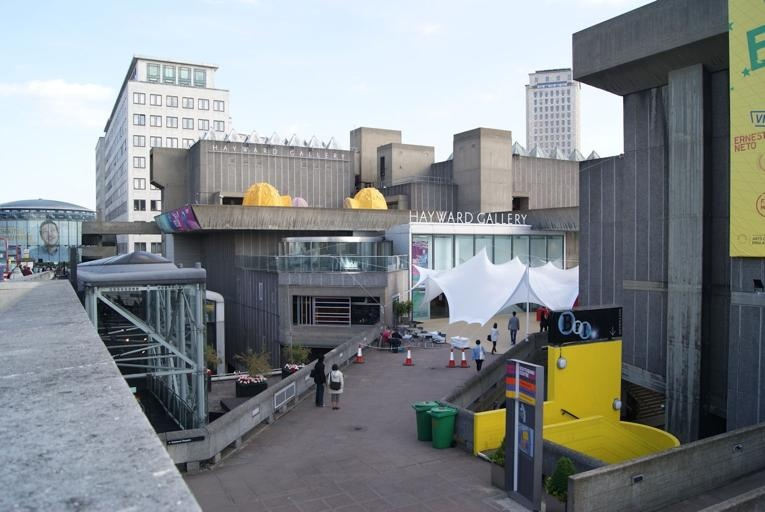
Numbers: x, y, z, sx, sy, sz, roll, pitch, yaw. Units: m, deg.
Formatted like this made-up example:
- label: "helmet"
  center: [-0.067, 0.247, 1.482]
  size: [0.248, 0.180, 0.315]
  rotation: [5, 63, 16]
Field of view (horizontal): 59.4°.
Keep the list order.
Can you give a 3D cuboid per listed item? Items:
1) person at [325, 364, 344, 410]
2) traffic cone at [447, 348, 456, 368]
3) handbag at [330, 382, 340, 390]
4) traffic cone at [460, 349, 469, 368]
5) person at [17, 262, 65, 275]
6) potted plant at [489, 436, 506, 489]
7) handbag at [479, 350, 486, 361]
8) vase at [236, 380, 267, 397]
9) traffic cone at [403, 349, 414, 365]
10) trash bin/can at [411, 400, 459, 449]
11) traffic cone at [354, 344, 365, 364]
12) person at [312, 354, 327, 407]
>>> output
- label: "person"
  center: [-1.629, 4.422, 22.969]
  size: [0.460, 1.527, 1.134]
  rotation: [-1, 4, -5]
- label: "traffic cone"
  center: [3.057, 4.431, 28.877]
  size: [0.574, 0.778, 0.569]
  rotation: [-1, -1, -8]
- label: "handbag"
  center: [-1.588, 4.355, 22.432]
  size: [0.357, 0.267, 0.209]
  rotation: [0, -1, 22]
- label: "traffic cone"
  center: [3.511, 4.465, 28.791]
  size: [0.496, 0.741, 0.510]
  rotation: [-2, 1, -14]
- label: "person"
  center: [-30.484, 1.120, 60.247]
  size: [2.057, 1.298, 1.163]
  rotation: [-2, 4, -13]
- label: "potted plant"
  center: [2.939, 5.317, 17.060]
  size: [0.277, 1.143, 0.599]
  rotation: [-3, 5, -30]
- label: "handbag"
  center: [3.966, 3.993, 26.952]
  size: [0.099, 0.378, 0.679]
  rotation: [1, 4, 22]
- label: "vase"
  center: [-5.342, 5.411, 27.274]
  size: [1.158, 0.556, 0.788]
  rotation: [-2, 4, -15]
- label: "traffic cone"
  center: [1.108, 4.412, 29.190]
  size: [0.528, 0.750, 0.533]
  rotation: [0, 1, -7]
- label: "trash bin/can"
  center: [1.554, 4.973, 19.694]
  size: [0.661, 1.114, 1.115]
  rotation: [-5, 5, -45]
- label: "traffic cone"
  center: [-0.944, 4.400, 29.780]
  size: [0.524, 0.746, 0.528]
  rotation: [-1, 4, -23]
- label: "person"
  center: [-2.186, 4.307, 23.244]
  size: [0.509, 1.690, 1.083]
  rotation: [-1, 4, -5]
